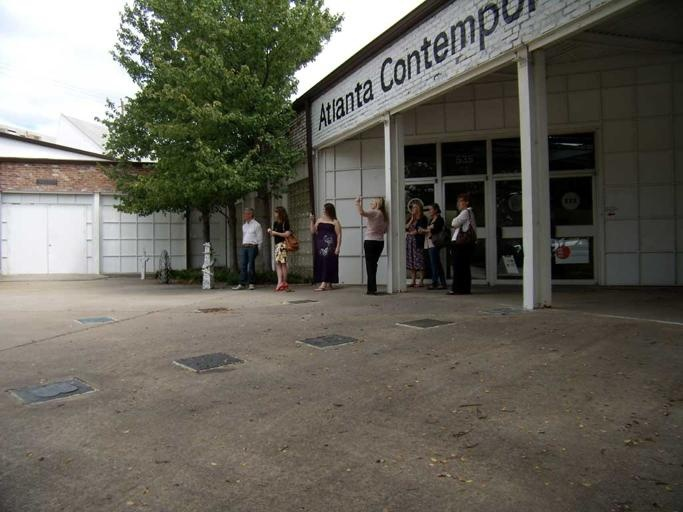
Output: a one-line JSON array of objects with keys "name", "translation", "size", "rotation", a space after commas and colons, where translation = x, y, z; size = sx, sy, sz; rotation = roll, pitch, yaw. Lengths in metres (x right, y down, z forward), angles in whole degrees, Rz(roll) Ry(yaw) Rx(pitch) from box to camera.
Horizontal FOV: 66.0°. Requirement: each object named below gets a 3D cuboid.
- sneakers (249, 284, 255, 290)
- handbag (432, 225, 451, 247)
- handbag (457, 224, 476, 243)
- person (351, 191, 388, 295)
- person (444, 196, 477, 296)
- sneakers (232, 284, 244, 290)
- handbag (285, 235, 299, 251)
[{"name": "sneakers", "translation": [-2.243, 0.753, 12.952], "size": [0.106, 0.137, 0.332], "rotation": [0, 4, -11]}, {"name": "handbag", "translation": [2.141, -0.430, 11.539], "size": [0.402, 0.444, 0.196], "rotation": [-3, 7, -1]}, {"name": "handbag", "translation": [2.340, -0.428, 10.033], "size": [0.291, 0.381, 0.160], "rotation": [2, 12, 3]}, {"name": "person", "translation": [0.628, -0.230, 10.990], "size": [0.481, 2.039, 0.788], "rotation": [4, 14, 24]}, {"name": "person", "translation": [2.347, -0.217, 10.270], "size": [0.458, 1.923, 0.587], "rotation": [2, 13, 13]}, {"name": "sneakers", "translation": [-2.638, 0.785, 13.112], "size": [0.345, 0.149, 0.154], "rotation": [4, 0, 1]}, {"name": "handbag", "translation": [-1.181, -0.304, 12.308], "size": [0.273, 0.380, 0.306], "rotation": [-3, 13, -7]}]
